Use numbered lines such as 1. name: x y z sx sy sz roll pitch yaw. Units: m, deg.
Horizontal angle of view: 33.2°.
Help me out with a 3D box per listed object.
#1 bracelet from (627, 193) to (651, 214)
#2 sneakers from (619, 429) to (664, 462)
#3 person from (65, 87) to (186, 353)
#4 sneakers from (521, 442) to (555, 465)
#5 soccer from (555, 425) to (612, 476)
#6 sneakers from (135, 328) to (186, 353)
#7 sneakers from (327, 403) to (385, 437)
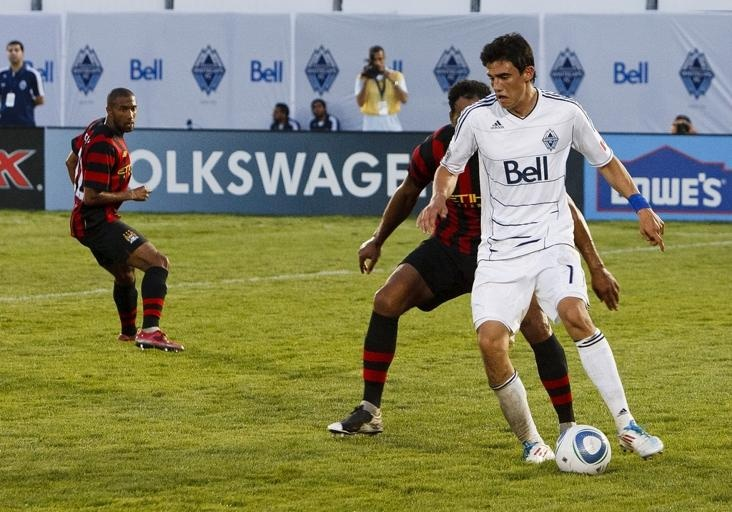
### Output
1. bracelet: 2.218 -0.435 10.087 0.124 0.067 0.220 -8 39 -2
2. sneakers: 2.202 1.486 9.927 0.225 0.245 0.476 -6 3 -31
3. person: -2.488 -0.352 12.435 1.366 2.629 0.727 13 19 43
4. sneakers: 1.425 1.630 10.144 0.242 0.171 0.150 -21 24 48
5. soccer: 1.755 1.578 10.014 0.386 0.400 0.401 10 -1 37
6. sneakers: -2.080 0.855 12.369 0.537 0.260 0.206 7 -5 -10
7. sneakers: -0.074 1.411 10.593 0.525 0.274 0.176 3 -6 -28
